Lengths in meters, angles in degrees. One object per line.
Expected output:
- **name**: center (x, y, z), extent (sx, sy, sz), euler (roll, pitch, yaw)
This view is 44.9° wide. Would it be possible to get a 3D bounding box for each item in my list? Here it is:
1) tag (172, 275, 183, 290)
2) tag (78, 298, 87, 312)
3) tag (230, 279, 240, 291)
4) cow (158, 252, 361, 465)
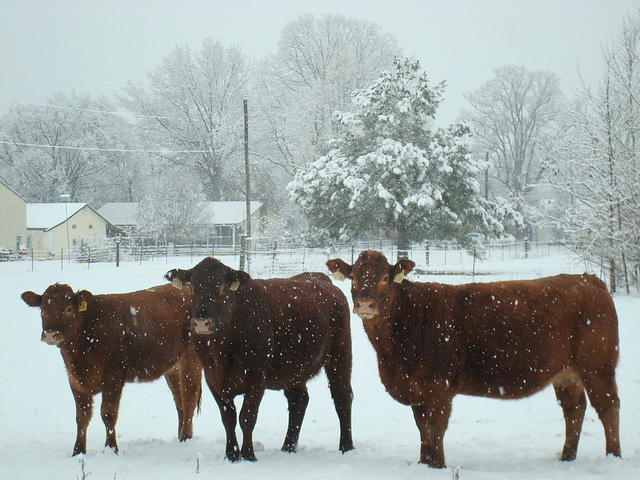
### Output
- **tag**: center (-2.666, 0.819, 14.453), extent (0.160, 0.251, 0.212), euler (2, -13, -16)
- **tag**: center (-4.584, 1.276, 14.927), extent (0.181, 0.320, 0.033), euler (5, -18, -3)
- **tag**: center (-1.548, 0.858, 14.291), extent (0.098, 0.208, 0.296), euler (3, 9, 25)
- **cow**: center (-1.042, 2.356, 15.385), extent (1.988, 4.157, 4.603), euler (-3, -9, 37)
